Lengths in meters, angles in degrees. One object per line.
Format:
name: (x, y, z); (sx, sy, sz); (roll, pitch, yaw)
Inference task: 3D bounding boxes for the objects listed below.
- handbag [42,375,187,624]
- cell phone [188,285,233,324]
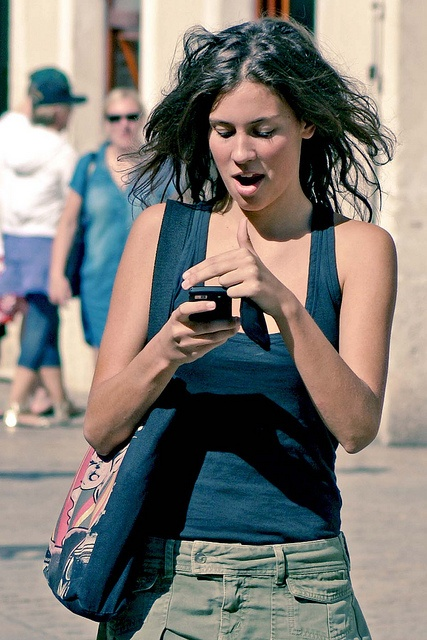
handbag: (-0.203, 0.342, 2.017); (0.063, 0.349, 0.200); (20, -10, -40)
cell phone: (-0.013, -0.028, 1.903); (0.077, 0.054, 0.094); (-4, 16, -19)
